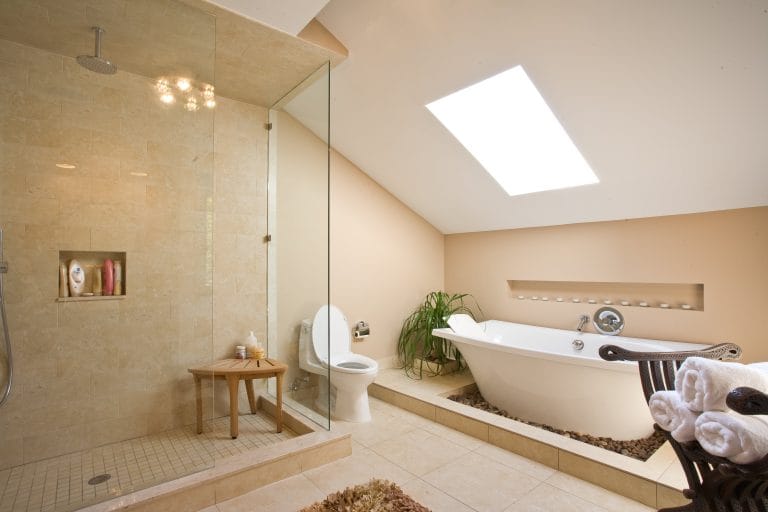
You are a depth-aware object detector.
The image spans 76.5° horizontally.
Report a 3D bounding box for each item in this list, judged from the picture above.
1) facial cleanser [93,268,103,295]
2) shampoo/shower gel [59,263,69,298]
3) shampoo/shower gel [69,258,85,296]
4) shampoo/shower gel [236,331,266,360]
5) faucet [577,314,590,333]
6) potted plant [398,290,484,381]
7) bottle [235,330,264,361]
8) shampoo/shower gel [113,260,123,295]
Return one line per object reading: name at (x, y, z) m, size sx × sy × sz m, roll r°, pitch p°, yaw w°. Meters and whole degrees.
facial cleanser at (-1.959, 0.175, 3.326) m, size 0.062 × 0.188 × 0.027 m, roll -9°, pitch 14°, yaw -32°
shampoo/shower gel at (-2.135, 0.161, 3.236) m, size 0.044 × 0.224 × 0.054 m, roll -2°, pitch 12°, yaw 0°
shampoo/shower gel at (-2.069, 0.154, 3.268) m, size 0.056 × 0.212 × 0.103 m, roll -3°, pitch 1°, yaw 39°
shampoo/shower gel at (-1.253, 0.836, 4.539) m, size 0.225 × 0.331 × 0.224 m, roll 3°, pitch -7°, yaw -36°
faucet at (2.056, 0.739, 5.090) m, size 0.088 × 0.241 × 0.075 m, roll 9°, pitch 19°, yaw -21°
potted plant at (0.649, 0.938, 6.106) m, size 0.980 × 0.892 × 0.970 m, roll 2°, pitch -2°, yaw -38°
bottle at (-1.253, 0.844, 4.534) m, size 0.222 × 0.367 × 0.220 m, roll -1°, pitch -7°, yaw 0°
shampoo/shower gel at (-1.853, 0.152, 3.378) m, size 0.071 × 0.243 × 0.036 m, roll -8°, pitch 14°, yaw -28°
